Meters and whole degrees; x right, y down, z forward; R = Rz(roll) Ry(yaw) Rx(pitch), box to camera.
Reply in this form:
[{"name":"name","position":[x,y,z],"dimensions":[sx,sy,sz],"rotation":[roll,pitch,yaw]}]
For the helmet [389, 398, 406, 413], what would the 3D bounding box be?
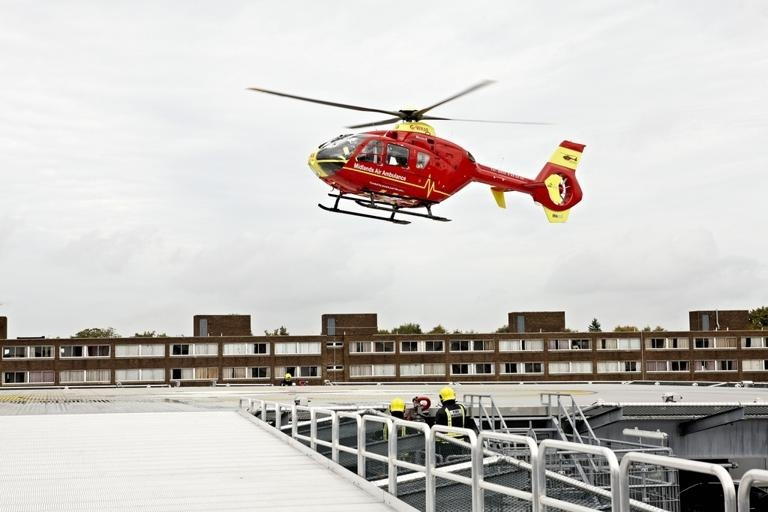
[{"name":"helmet","position":[0.409,4.688,32.774],"dimensions":[0.490,0.335,0.652],"rotation":[1,-16,2]}]
